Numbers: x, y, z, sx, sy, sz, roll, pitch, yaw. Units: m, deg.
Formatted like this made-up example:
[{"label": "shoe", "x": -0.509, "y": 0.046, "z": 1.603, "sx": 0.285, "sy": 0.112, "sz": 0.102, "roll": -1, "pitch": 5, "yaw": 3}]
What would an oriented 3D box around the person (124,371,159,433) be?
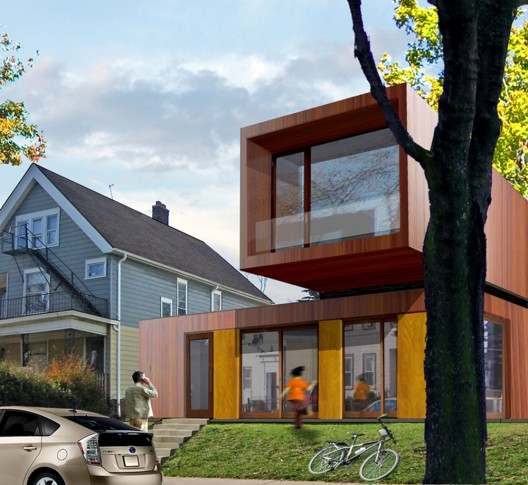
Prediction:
[{"label": "person", "x": -2.793, "y": 3.587, "z": 26.392, "sx": 0.729, "sy": 1.362, "sz": 0.693, "roll": -16, "pitch": -18, "yaw": 43}]
